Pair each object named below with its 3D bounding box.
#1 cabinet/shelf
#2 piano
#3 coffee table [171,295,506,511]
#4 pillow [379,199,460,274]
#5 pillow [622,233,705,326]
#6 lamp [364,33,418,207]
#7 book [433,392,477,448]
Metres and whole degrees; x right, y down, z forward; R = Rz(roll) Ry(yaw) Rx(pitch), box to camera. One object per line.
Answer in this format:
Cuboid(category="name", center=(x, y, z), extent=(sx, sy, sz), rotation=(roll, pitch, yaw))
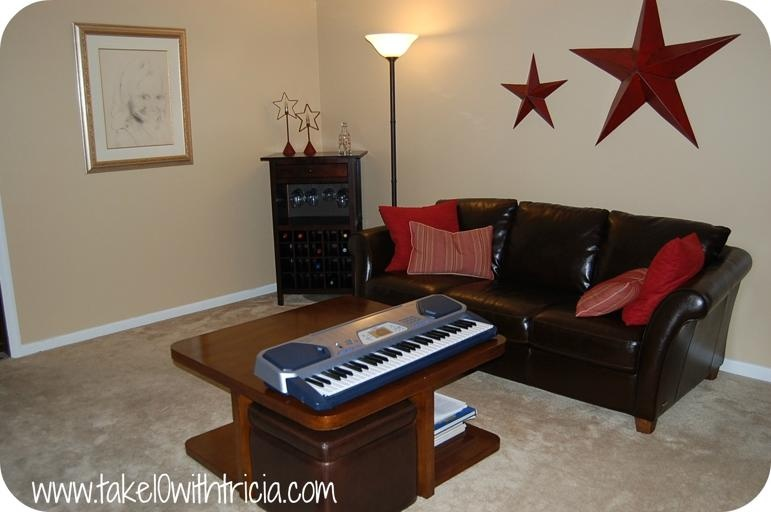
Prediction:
Cuboid(category="cabinet/shelf", center=(-0.715, -0.257, 5.591), extent=(0.977, 1.505, 0.624), rotation=(-3, -1, -9))
Cuboid(category="piano", center=(-0.041, 0.492, 2.984), extent=(1.282, 0.327, 0.451), rotation=(-8, 14, -32))
Cuboid(category="coffee table", center=(-0.234, 0.682, 3.251), extent=(1.325, 0.684, 1.339), rotation=(7, 11, 39))
Cuboid(category="pillow", center=(0.268, -0.162, 4.534), extent=(0.615, 0.584, 0.194), rotation=(-5, -7, -6))
Cuboid(category="pillow", center=(1.922, 0.096, 3.628), extent=(0.185, 0.654, 0.703), rotation=(26, -12, 5))
Cuboid(category="lamp", center=(0.085, -1.306, 5.270), extent=(0.459, 1.658, 0.651), rotation=(0, 13, 4))
Cuboid(category="book", center=(0.391, 0.981, 3.311), extent=(0.324, 0.106, 0.318), rotation=(-10, 15, -42))
